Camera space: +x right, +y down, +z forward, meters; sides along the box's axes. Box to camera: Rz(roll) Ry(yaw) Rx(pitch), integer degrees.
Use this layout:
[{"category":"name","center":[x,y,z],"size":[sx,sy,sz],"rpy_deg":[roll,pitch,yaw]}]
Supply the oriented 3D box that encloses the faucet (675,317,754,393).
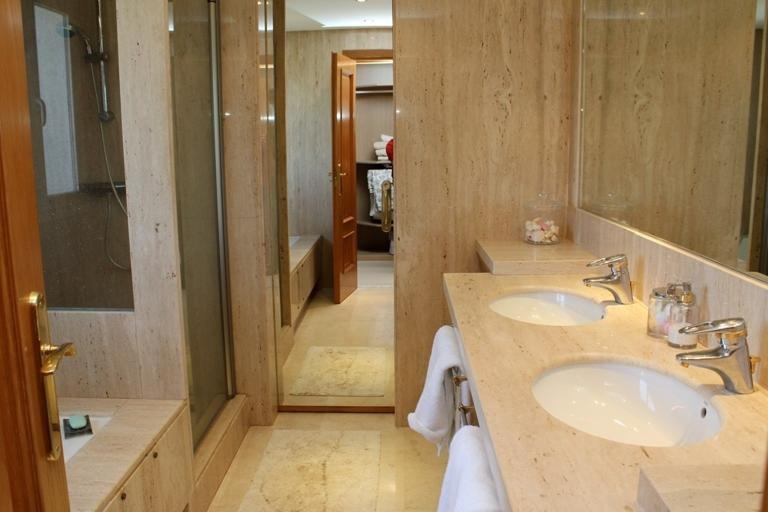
[{"category":"faucet","center":[0.912,0.281,1.615],"size":[0.197,0.202,0.103],"rpy_deg":[-10,13,7]}]

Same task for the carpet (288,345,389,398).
[{"category":"carpet","center":[-0.254,0.764,3.970],"size":[0.649,0.043,0.779],"rpy_deg":[-3,13,5]}]

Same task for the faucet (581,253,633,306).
[{"category":"faucet","center":[0.871,0.093,2.265],"size":[0.190,0.199,0.103],"rpy_deg":[-8,8,0]}]

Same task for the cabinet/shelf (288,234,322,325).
[{"category":"cabinet/shelf","center":[-0.655,0.196,5.116],"size":[0.302,0.520,1.700],"rpy_deg":[-6,14,-6]}]

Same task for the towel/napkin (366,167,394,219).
[{"category":"towel/napkin","center":[0.048,-0.752,6.944],"size":[0.355,0.584,0.346],"rpy_deg":[-3,24,16]}]
